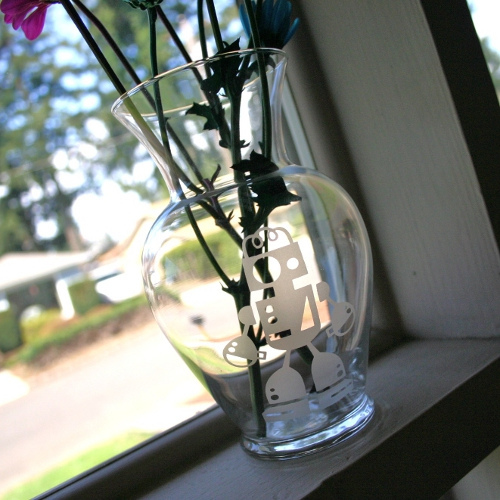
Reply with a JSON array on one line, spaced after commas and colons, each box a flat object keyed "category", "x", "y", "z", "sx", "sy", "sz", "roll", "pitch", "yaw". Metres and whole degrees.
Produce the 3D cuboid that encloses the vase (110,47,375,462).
[{"category": "vase", "x": 0.005, "y": 0.009, "z": 0.546, "sx": 0.244, "sy": 0.357, "sz": 0.215, "roll": -17, "pitch": 6, "yaw": -16}]
